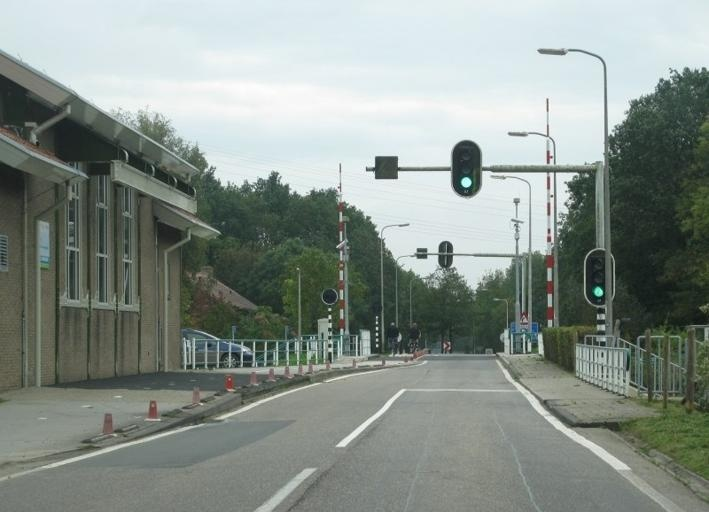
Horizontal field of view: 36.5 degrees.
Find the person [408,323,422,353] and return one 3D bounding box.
[{"bbox_3d":[3.324,4.636,60.041,0.692,1.164,1.762,1,-4,5],"label":"person"}]

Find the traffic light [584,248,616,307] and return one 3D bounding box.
[{"bbox_3d":[6.862,0.574,30.516,0.593,1.573,0.446,-1,-8,5],"label":"traffic light"}]

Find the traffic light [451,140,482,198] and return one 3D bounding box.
[{"bbox_3d":[3.035,-2.328,29.083,0.750,1.939,0.317,0,-34,6],"label":"traffic light"}]

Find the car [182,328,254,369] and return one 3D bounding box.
[{"bbox_3d":[-5.554,3.488,43.131,2.771,1.694,1.722,-2,-5,-1],"label":"car"}]
